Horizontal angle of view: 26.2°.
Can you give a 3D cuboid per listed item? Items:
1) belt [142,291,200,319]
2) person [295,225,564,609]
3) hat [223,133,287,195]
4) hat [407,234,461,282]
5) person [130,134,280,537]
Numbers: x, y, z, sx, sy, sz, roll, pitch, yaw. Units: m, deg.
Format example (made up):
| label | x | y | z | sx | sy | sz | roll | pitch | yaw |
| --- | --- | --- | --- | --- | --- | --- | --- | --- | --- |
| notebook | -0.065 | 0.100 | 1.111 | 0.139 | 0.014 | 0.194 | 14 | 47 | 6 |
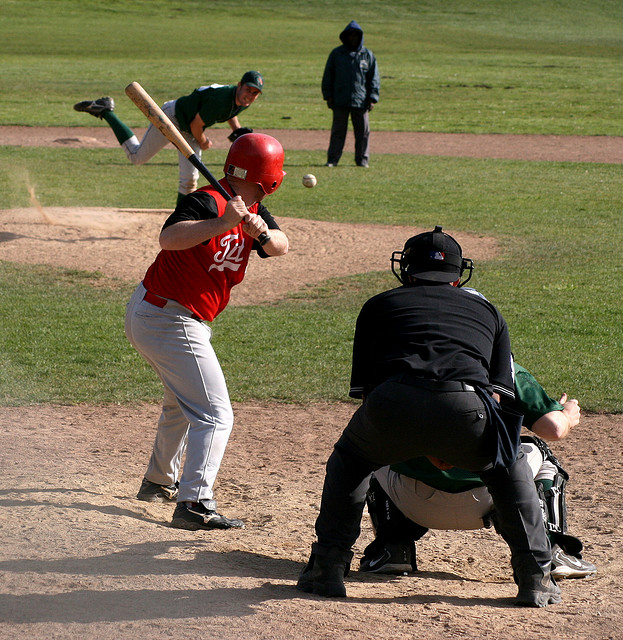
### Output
| label | x | y | z | sx | sy | sz | roll | pitch | yaw |
| --- | --- | --- | --- | --- | --- | --- | --- | --- | --- |
| belt | -0.832 | -0.098 | 7.807 | 0.267 | 0.051 | 0.177 | 20 | 3 | -17 |
| person | 0.732 | 0.551 | 7.219 | 1.340 | 1.902 | 1.025 | 6 | 21 | 8 |
| hat | -0.396 | -0.937 | 7.980 | 0.435 | 0.310 | 0.469 | 15 | 8 | 5 |
| hat | 0.669 | -0.310 | 7.375 | 0.292 | 0.147 | 0.254 | 7 | 58 | 0 |
| person | -0.682 | 0.079 | 7.837 | 0.805 | 2.267 | 1.009 | 6 | 21 | 6 |
